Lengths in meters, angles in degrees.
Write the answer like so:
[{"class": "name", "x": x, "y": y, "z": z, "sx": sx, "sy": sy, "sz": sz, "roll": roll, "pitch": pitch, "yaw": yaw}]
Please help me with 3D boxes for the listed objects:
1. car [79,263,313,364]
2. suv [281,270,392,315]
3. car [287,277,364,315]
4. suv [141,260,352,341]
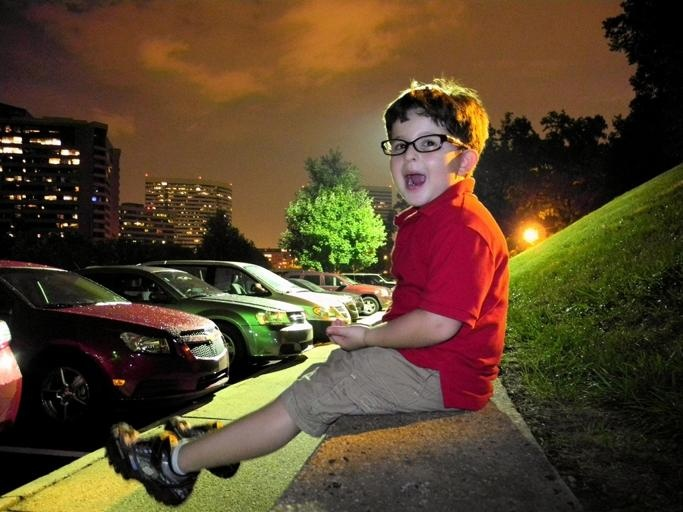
[{"class": "car", "x": -2.793, "y": 1.008, "z": 7.229, "sx": 4.270, "sy": 1.380, "sz": 1.816, "roll": 0, "pitch": -1, "yaw": 13}, {"class": "suv", "x": -0.287, "y": 1.840, "z": 18.447, "sx": 4.898, "sy": 1.885, "sz": 2.206, "roll": -1, "pitch": 0, "yaw": 10}, {"class": "car", "x": -0.789, "y": 1.475, "z": 14.171, "sx": 2.887, "sy": 1.142, "sz": 1.318, "roll": -1, "pitch": 0, "yaw": 13}, {"class": "suv", "x": -2.007, "y": 1.177, "z": 9.396, "sx": 4.781, "sy": 1.682, "sz": 2.167, "roll": -1, "pitch": -1, "yaw": 8}]
